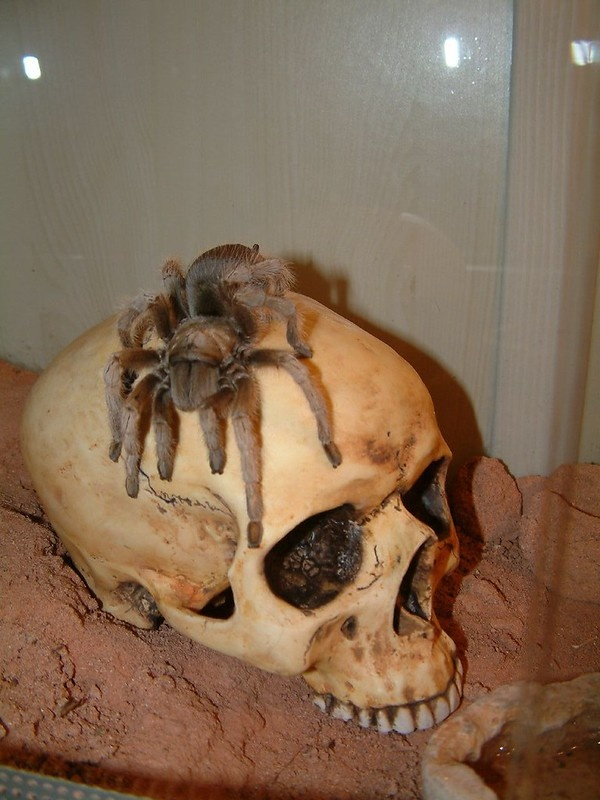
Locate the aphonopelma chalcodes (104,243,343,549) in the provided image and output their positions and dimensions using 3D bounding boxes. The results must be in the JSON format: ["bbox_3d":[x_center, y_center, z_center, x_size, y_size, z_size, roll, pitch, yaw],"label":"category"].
[{"bbox_3d":[-0.143,-0.019,1.462,0.396,0.187,0.593,-1,67,19],"label":"aphonopelma chalcodes"}]
